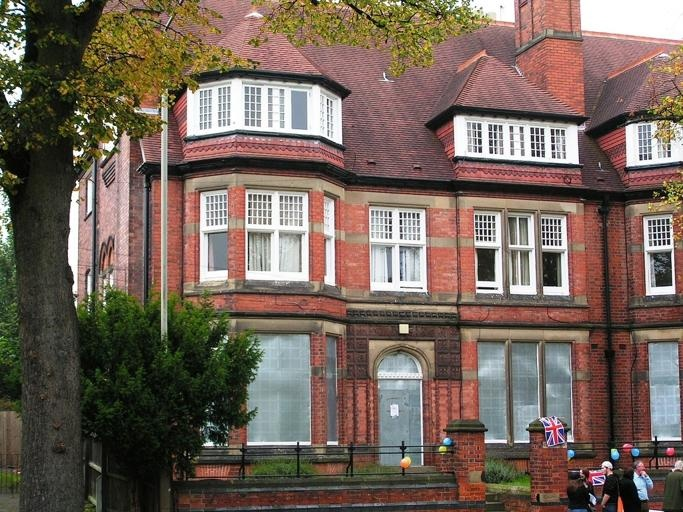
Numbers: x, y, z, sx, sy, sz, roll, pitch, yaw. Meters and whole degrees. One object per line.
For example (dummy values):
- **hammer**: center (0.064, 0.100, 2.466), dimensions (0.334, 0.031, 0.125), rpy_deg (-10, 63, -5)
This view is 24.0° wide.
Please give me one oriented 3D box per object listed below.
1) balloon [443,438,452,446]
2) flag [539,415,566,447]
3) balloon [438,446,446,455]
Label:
- **balloon**: center (2.728, 4.951, 42.237), dimensions (0.172, 0.167, 0.218), rpy_deg (-9, -2, 32)
- **flag**: center (5.372, 4.632, 41.803), dimensions (0.704, 0.717, 0.169), rpy_deg (4, -12, -30)
- **balloon**: center (2.630, 5.166, 42.188), dimensions (0.231, 0.154, 0.228), rpy_deg (1, -8, -10)
